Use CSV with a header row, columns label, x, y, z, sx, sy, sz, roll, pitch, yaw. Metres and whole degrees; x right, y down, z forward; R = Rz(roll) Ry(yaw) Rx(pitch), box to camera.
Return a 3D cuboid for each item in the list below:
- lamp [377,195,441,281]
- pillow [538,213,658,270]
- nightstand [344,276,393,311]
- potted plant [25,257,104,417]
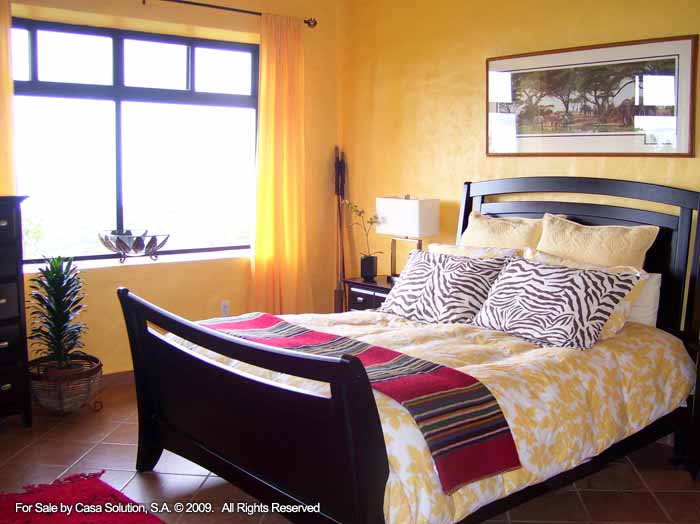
label,x,y,z,sx,sy,sz,roll,pitch,yaw
lamp,0.508,-0.186,4.383,0.445,0.635,0.227,-2,-6,-14
pillow,1.610,-0.123,3.232,0.375,0.237,0.118,10,-19,39
nightstand,0.188,0.232,4.451,0.299,0.384,0.431,-1,2,-35
potted plant,-2.116,0.504,3.671,0.446,1.127,0.609,-7,12,-32
